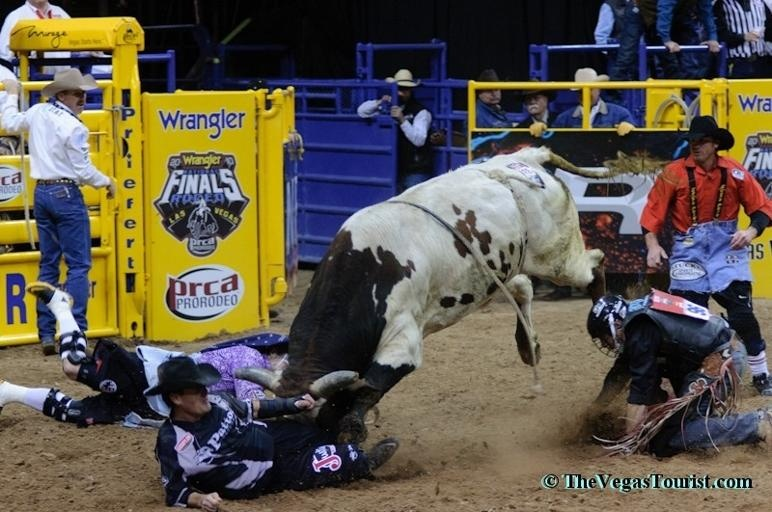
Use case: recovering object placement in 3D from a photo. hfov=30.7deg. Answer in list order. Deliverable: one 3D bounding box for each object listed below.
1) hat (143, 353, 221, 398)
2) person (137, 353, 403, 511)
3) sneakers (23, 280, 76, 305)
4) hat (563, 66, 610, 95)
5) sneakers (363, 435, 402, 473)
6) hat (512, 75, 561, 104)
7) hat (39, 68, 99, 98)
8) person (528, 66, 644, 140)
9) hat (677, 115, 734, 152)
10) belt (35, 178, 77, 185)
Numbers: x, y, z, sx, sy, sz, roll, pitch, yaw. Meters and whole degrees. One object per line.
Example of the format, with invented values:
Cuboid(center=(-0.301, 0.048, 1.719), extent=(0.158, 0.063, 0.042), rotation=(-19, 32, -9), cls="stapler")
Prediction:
Cuboid(center=(-1.641, 0.953, 11.225), extent=(0.386, 0.162, 0.475), rotation=(-10, -3, 40), cls="hat")
Cuboid(center=(-0.938, 1.444, 11.605), extent=(1.922, 0.907, 1.038), rotation=(5, 24, 3), cls="person")
Cuboid(center=(-2.998, 0.347, 12.702), extent=(0.527, 0.160, 0.182), rotation=(6, 27, -27), cls="sneakers")
Cuboid(center=(2.362, -2.048, 16.380), extent=(0.410, 0.156, 0.459), rotation=(-9, 3, 25), cls="hat")
Cuboid(center=(-0.060, 1.683, 11.998), extent=(0.378, 0.109, 0.191), rotation=(-21, 48, -27), cls="sneakers")
Cuboid(center=(1.750, -1.967, 16.356), extent=(0.435, 0.160, 0.459), rotation=(-11, -3, 15), cls="hat")
Cuboid(center=(-3.081, -1.644, 13.462), extent=(0.402, 0.127, 0.303), rotation=(-11, 3, 23), cls="hat")
Cuboid(center=(2.215, -1.751, 16.100), extent=(1.292, 0.725, 1.305), rotation=(2, 9, 6), cls="person")
Cuboid(center=(3.004, -1.121, 12.896), extent=(0.325, 0.138, 0.399), rotation=(-11, -28, 42), cls="hat")
Cuboid(center=(-3.211, -0.717, 13.589), extent=(0.377, 0.062, 0.092), rotation=(1, 10, 0), cls="belt")
